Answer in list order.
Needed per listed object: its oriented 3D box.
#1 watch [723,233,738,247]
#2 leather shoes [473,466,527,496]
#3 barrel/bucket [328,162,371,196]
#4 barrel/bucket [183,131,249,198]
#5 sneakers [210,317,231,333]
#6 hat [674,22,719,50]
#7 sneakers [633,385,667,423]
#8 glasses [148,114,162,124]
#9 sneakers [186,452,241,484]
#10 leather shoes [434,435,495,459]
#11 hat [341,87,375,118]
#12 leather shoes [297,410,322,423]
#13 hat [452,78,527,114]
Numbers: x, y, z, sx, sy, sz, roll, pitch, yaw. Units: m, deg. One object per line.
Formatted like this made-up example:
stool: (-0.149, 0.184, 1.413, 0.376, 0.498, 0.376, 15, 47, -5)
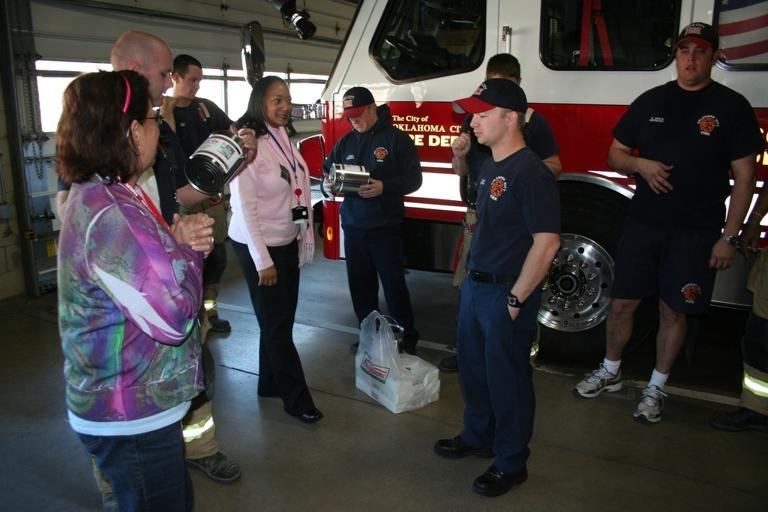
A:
watch: (2.490, -0.117, 3.824, 0.092, 0.065, 0.098, 8, 9, -3)
leather shoes: (0.766, 1.461, 3.537, 0.346, 0.141, 0.152, -4, 8, -25)
barrel/bucket: (-0.307, -0.658, 4.518, 0.278, 0.268, 0.261, 7, 11, -1)
barrel/bucket: (-0.909, -0.479, 2.855, 0.320, 0.357, 0.201, -1, 15, -5)
sneakers: (-1.695, 0.718, 5.509, 0.256, 0.109, 0.115, 2, 14, 8)
hat: (2.249, -1.574, 3.803, 0.257, 0.197, 0.175, 8, 17, 26)
sneakers: (2.071, 1.166, 4.138, 0.151, 0.167, 0.381, 5, 17, 31)
glasses: (-1.141, -0.678, 2.648, 0.032, 0.059, 0.636, -5, 16, -19)
sneakers: (-1.188, 1.427, 3.699, 0.434, 0.166, 0.154, 10, 18, 21)
leather shoes: (0.565, 1.372, 3.782, 0.409, 0.167, 0.162, 4, 1, 2)
hat: (-0.212, -1.337, 4.603, 0.202, 0.162, 0.286, 16, 53, 39)
leather shoes: (-0.562, 1.226, 4.092, 0.158, 0.056, 0.097, -1, 6, 32)
hat: (0.680, -0.992, 3.355, 0.358, 0.170, 0.227, 7, 19, 4)
